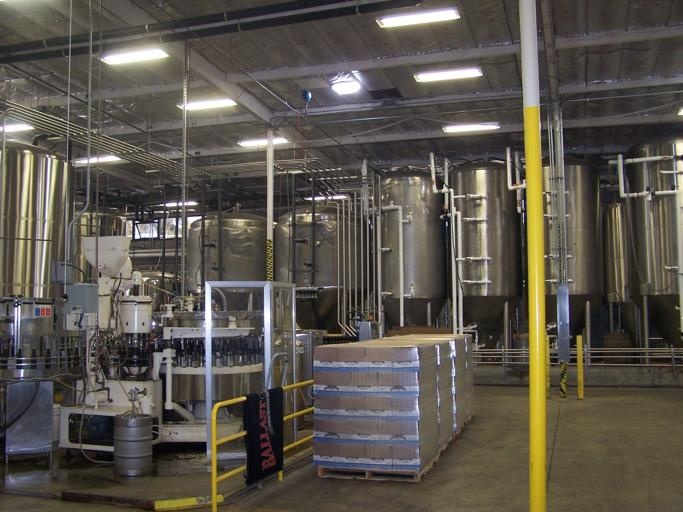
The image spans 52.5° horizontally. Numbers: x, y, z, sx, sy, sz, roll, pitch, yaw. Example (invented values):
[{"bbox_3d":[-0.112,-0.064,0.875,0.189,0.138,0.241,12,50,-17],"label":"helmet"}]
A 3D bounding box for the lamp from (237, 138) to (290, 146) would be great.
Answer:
[{"bbox_3d":[-2.359,-3.367,20.933,2.290,0.305,0.241,7,9,44],"label":"lamp"}]

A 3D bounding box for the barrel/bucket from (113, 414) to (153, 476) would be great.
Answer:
[{"bbox_3d":[-3.083,2.806,10.270,0.530,0.902,0.265,-1,-5,-20],"label":"barrel/bucket"}]
